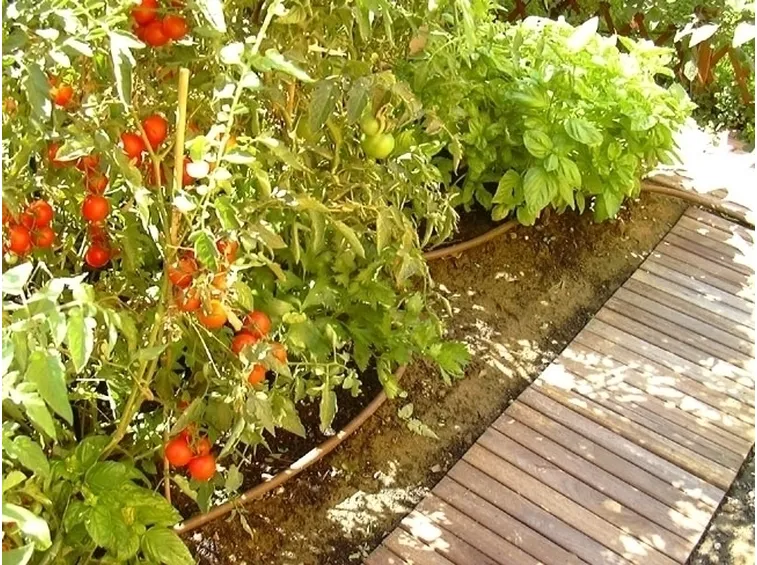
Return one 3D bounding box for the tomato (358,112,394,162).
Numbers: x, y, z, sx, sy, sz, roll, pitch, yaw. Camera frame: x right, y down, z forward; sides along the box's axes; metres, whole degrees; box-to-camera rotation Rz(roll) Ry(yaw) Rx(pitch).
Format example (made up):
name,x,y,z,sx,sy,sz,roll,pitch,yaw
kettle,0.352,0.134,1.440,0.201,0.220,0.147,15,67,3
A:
name,x,y,z,sx,sy,sz,roll,pitch,yaw
tomato,0.008,-0.388,1.492,0.079,0.118,0.084,14,45,28
